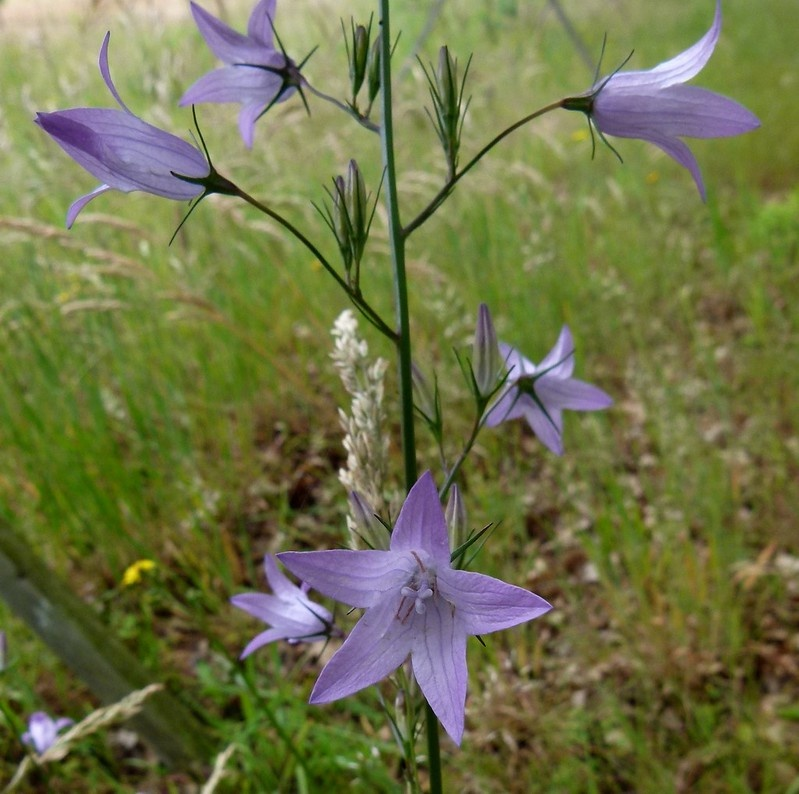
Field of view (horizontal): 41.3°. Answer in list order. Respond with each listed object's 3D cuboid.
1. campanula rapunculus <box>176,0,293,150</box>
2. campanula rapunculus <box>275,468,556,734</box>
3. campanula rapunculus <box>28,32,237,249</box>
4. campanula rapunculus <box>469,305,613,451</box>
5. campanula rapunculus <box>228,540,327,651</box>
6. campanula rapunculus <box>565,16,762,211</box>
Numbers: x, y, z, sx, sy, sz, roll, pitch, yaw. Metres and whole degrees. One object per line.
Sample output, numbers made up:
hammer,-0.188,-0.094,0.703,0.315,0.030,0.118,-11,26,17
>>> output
campanula rapunculus,-0.387,-0.799,2.591,0.268,0.267,0.114,-53,-6,30
campanula rapunculus,0.067,0.513,2.387,0.500,0.713,0.296,-7,47,13
campanula rapunculus,-0.613,-0.599,2.511,0.485,0.479,0.353,6,-10,5
campanula rapunculus,0.336,-0.030,2.690,0.349,0.173,0.380,-11,-8,-29
campanula rapunculus,-0.308,0.542,2.756,0.096,0.296,0.233,11,-38,-40
campanula rapunculus,0.646,-0.671,2.492,0.333,0.430,0.111,5,39,10
